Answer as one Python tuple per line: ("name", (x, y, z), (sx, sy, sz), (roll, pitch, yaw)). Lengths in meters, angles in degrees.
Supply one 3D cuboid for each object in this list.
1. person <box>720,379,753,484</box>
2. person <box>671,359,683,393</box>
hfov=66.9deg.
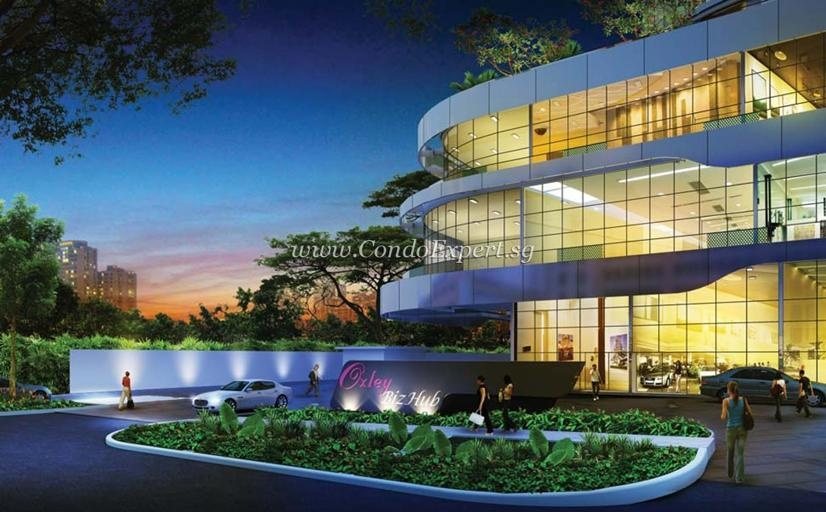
("person", (10.547, 5.744, 20.375), (0.884, 3.154, 0.670), (-2, -8, 9))
("person", (16.540, 7.485, 38.901), (0.602, 1.821, 0.231), (-3, -8, 17))
